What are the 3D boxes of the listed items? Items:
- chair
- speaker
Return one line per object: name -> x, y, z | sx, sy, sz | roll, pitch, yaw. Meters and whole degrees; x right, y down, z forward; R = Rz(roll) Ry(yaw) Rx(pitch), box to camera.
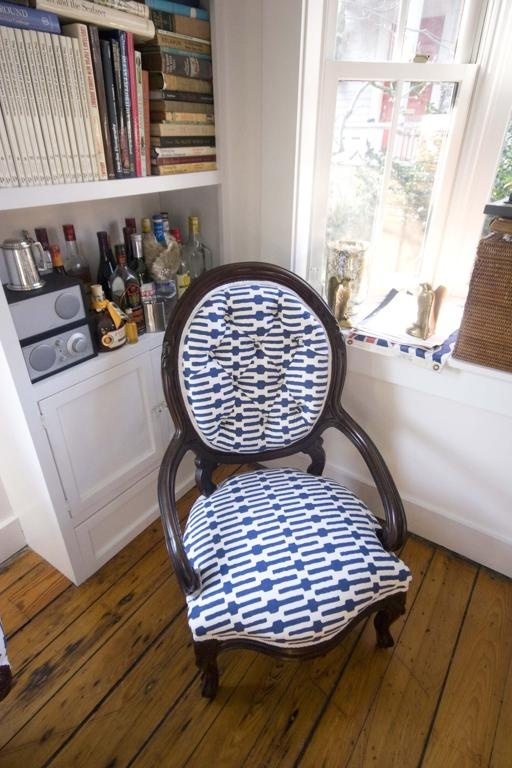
chair -> 0.071, 0.260, 1.191 | 0.558, 0.820, 0.619 | -3, 38, -2
speaker -> -0.498, -0.131, 1.160 | 0.138, 0.193, 0.189 | 32, 47, 32
